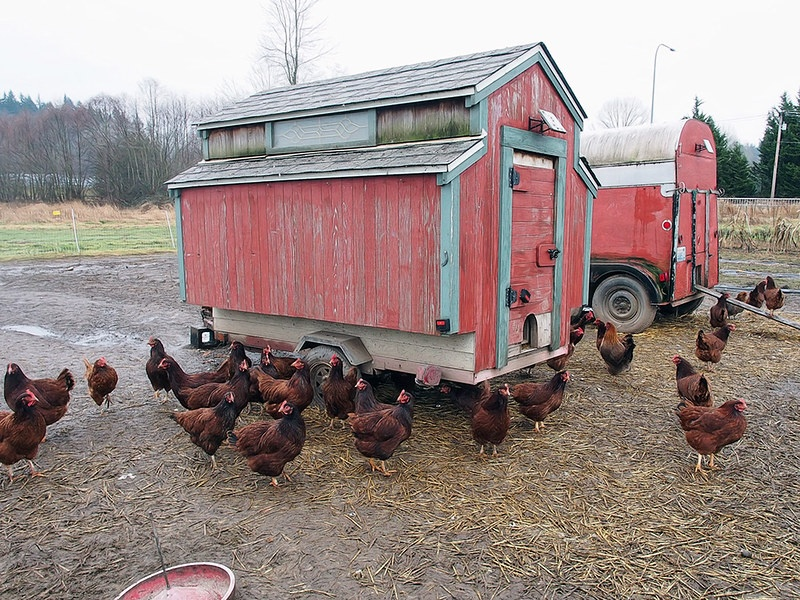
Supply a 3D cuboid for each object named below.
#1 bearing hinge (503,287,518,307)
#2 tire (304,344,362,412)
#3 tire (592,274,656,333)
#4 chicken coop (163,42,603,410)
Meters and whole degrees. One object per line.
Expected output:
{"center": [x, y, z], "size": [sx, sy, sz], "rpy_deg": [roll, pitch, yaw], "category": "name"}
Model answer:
{"center": [1.557, -0.044, 8.308], "size": [0.166, 0.290, 0.085], "rpy_deg": [2, 2, -35], "category": "bearing hinge"}
{"center": [-0.941, 1.085, 8.381], "size": [0.968, 0.999, 0.354], "rpy_deg": [2, 9, 26], "category": "tire"}
{"center": [4.793, 0.054, 12.507], "size": [1.102, 1.138, 0.406], "rpy_deg": [8, 18, 39], "category": "tire"}
{"center": [-0.449, -1.579, 10.638], "size": [6.606, 4.928, 5.024], "rpy_deg": [6, 9, 35], "category": "chicken coop"}
